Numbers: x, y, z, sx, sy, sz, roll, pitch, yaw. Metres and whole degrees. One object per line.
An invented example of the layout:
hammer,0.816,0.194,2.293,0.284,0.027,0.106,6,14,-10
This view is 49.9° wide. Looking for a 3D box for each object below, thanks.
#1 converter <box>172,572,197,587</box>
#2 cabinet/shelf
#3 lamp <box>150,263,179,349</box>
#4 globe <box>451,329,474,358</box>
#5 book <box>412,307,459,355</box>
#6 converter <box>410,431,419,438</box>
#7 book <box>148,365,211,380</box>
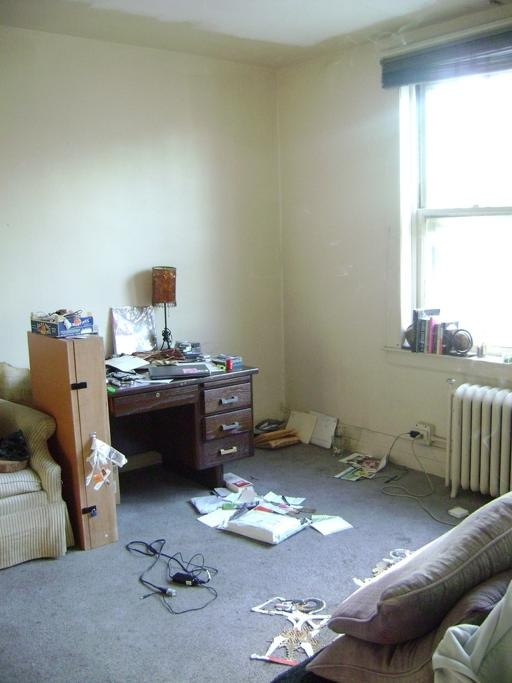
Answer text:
converter,-0.288,0.961,2.216,0.071,0.017,0.043,4,2,8
cabinet/shelf,-0.455,0.504,3.090,0.842,0.670,0.464,-8,9,-38
lamp,-0.556,-0.205,3.390,0.167,0.510,0.286,-4,7,-9
globe,1.125,0.007,3.014,0.099,0.143,0.083,0,7,19
book,1.046,-0.071,3.248,0.238,0.287,0.238,7,12,36
converter,0.931,0.549,3.234,0.031,0.043,0.011,7,10,40
book,-0.411,0.162,2.980,0.322,0.064,0.259,-4,7,-9
